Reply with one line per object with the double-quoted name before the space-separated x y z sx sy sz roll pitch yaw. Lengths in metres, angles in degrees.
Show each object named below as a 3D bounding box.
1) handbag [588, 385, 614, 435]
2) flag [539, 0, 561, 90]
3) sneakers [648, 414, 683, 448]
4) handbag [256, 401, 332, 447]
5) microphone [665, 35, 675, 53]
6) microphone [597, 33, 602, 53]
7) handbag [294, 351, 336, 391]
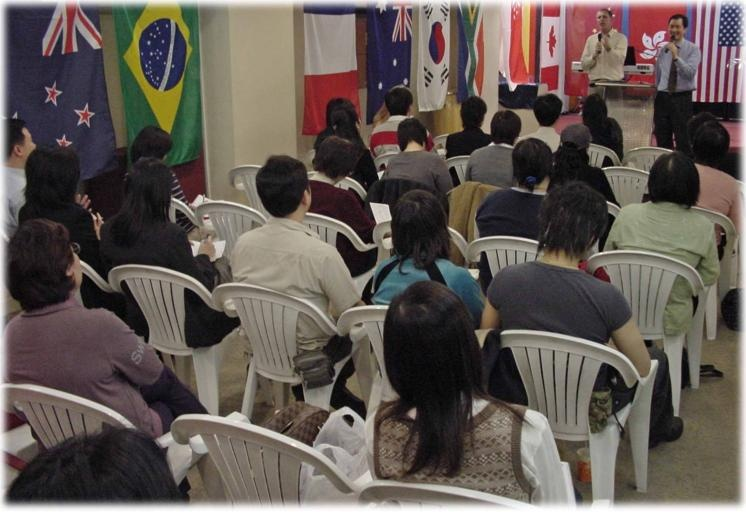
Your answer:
"handbag" 0.950 0.646 2.453 0.115 0.178 0.064 8 2 13
"flag" 3.501 -4.263 11.749 0.175 1.680 0.884 7 12 38
"sneakers" 1.574 0.926 3.140 0.329 0.194 0.062 -8 12 -38
"handbag" -0.303 0.637 2.236 0.146 0.226 0.199 28 17 21
"microphone" 3.684 -2.670 7.292 0.097 0.227 0.289 3 10 21
"microphone" 3.251 -3.105 8.442 0.066 0.266 0.173 3 10 19
"handbag" -0.284 0.548 2.879 0.182 0.185 0.153 -12 22 -9
